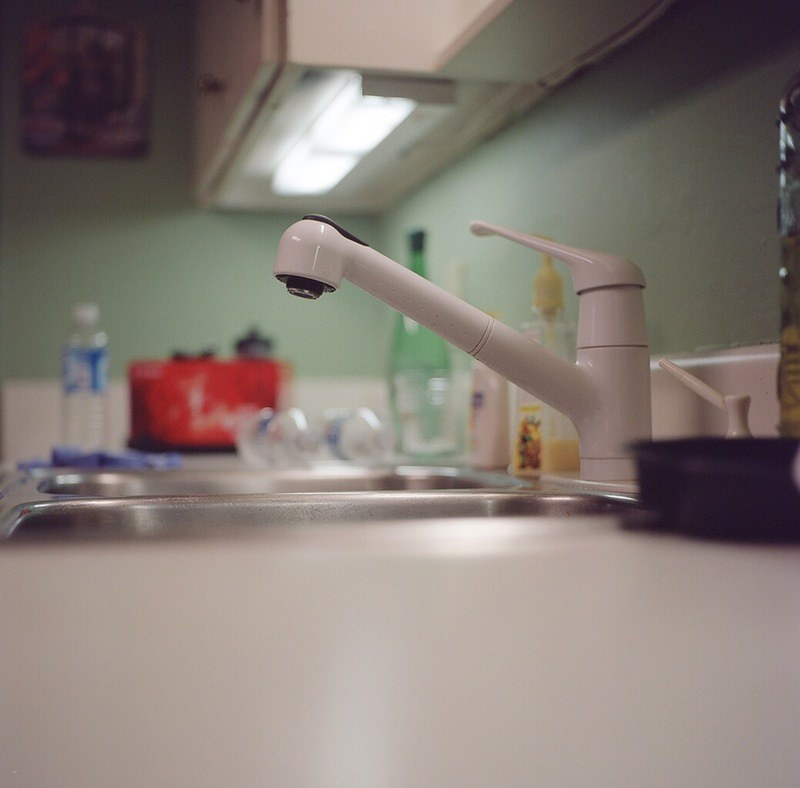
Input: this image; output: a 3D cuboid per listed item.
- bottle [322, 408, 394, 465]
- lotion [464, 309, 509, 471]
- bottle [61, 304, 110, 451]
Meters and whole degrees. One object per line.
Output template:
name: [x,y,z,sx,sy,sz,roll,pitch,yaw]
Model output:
bottle: [-0.070,0.076,1.402,0.112,0.121,0.064,7,-13,-29]
lotion: [0.123,-0.006,1.116,0.047,0.074,0.223,7,-46,15]
bottle: [-0.718,-0.045,1.939,0.099,0.335,0.171,1,-2,-23]
